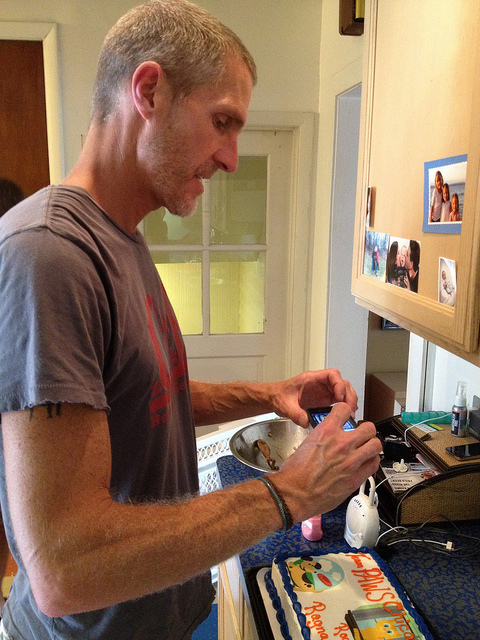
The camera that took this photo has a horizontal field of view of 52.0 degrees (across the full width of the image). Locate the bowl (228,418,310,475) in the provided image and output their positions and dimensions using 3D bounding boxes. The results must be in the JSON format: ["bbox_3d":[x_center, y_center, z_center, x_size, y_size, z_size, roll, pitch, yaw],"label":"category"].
[{"bbox_3d":[0.103,0.357,1.509,0.216,0.092,0.224,-1,18,0],"label":"bowl"}]

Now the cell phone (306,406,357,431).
[{"bbox_3d":[0.200,0.214,1.105,0.069,0.024,0.082,-2,17,-1],"label":"cell phone"}]

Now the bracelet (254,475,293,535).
[{"bbox_3d":[0.049,0.220,0.611,0.013,0.057,0.057,-28,-29,-4],"label":"bracelet"}]
